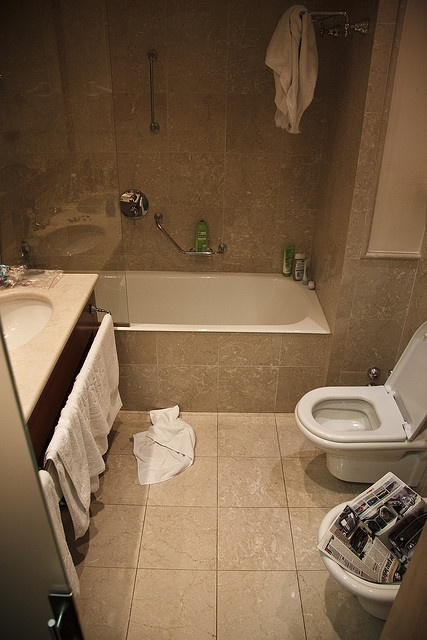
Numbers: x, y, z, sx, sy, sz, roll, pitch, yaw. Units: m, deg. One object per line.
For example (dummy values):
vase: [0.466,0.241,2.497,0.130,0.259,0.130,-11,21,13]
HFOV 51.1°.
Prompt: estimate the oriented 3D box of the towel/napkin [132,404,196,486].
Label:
towel/napkin: [-0.277,0.688,2.512,0.357,0.050,0.509,-9,33,-16]

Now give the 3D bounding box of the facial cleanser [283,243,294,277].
facial cleanser: [0.525,-0.415,3.106,0.081,0.211,0.070,-4,29,-8]

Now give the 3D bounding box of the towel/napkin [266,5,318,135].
towel/napkin: [0.379,-1.256,2.258,0.220,0.562,0.244,-9,30,-18]

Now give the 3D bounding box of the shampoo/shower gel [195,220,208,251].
shampoo/shower gel: [-0.086,-0.570,3.015,0.080,0.191,0.044,1,27,3]
